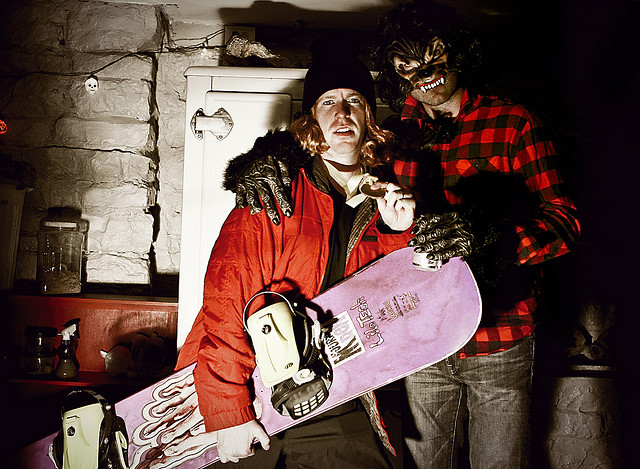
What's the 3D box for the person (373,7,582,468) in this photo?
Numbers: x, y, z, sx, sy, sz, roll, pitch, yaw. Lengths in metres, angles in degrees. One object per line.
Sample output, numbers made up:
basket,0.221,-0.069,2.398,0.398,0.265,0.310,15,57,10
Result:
person,0.724,0.030,2.870,0.877,2.318,0.518,0,0,-3
